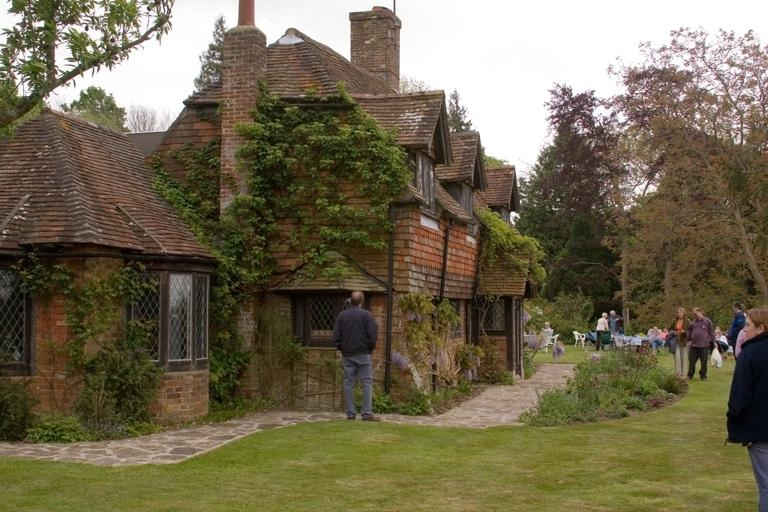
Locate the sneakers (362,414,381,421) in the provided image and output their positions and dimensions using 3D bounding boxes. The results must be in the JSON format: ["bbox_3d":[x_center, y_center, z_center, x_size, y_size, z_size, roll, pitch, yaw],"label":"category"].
[{"bbox_3d":[-0.300,3.894,20.648,0.424,0.185,0.160,0,-4,5],"label":"sneakers"}]

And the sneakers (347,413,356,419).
[{"bbox_3d":[-0.797,3.865,20.725,0.141,0.110,0.115,-1,-2,12],"label":"sneakers"}]

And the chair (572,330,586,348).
[{"bbox_3d":[10.666,4.600,47.290,0.898,1.152,0.916,-3,-4,34],"label":"chair"}]

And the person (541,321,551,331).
[{"bbox_3d":[8.343,3.648,44.660,0.374,0.453,0.942,5,-8,14],"label":"person"}]
